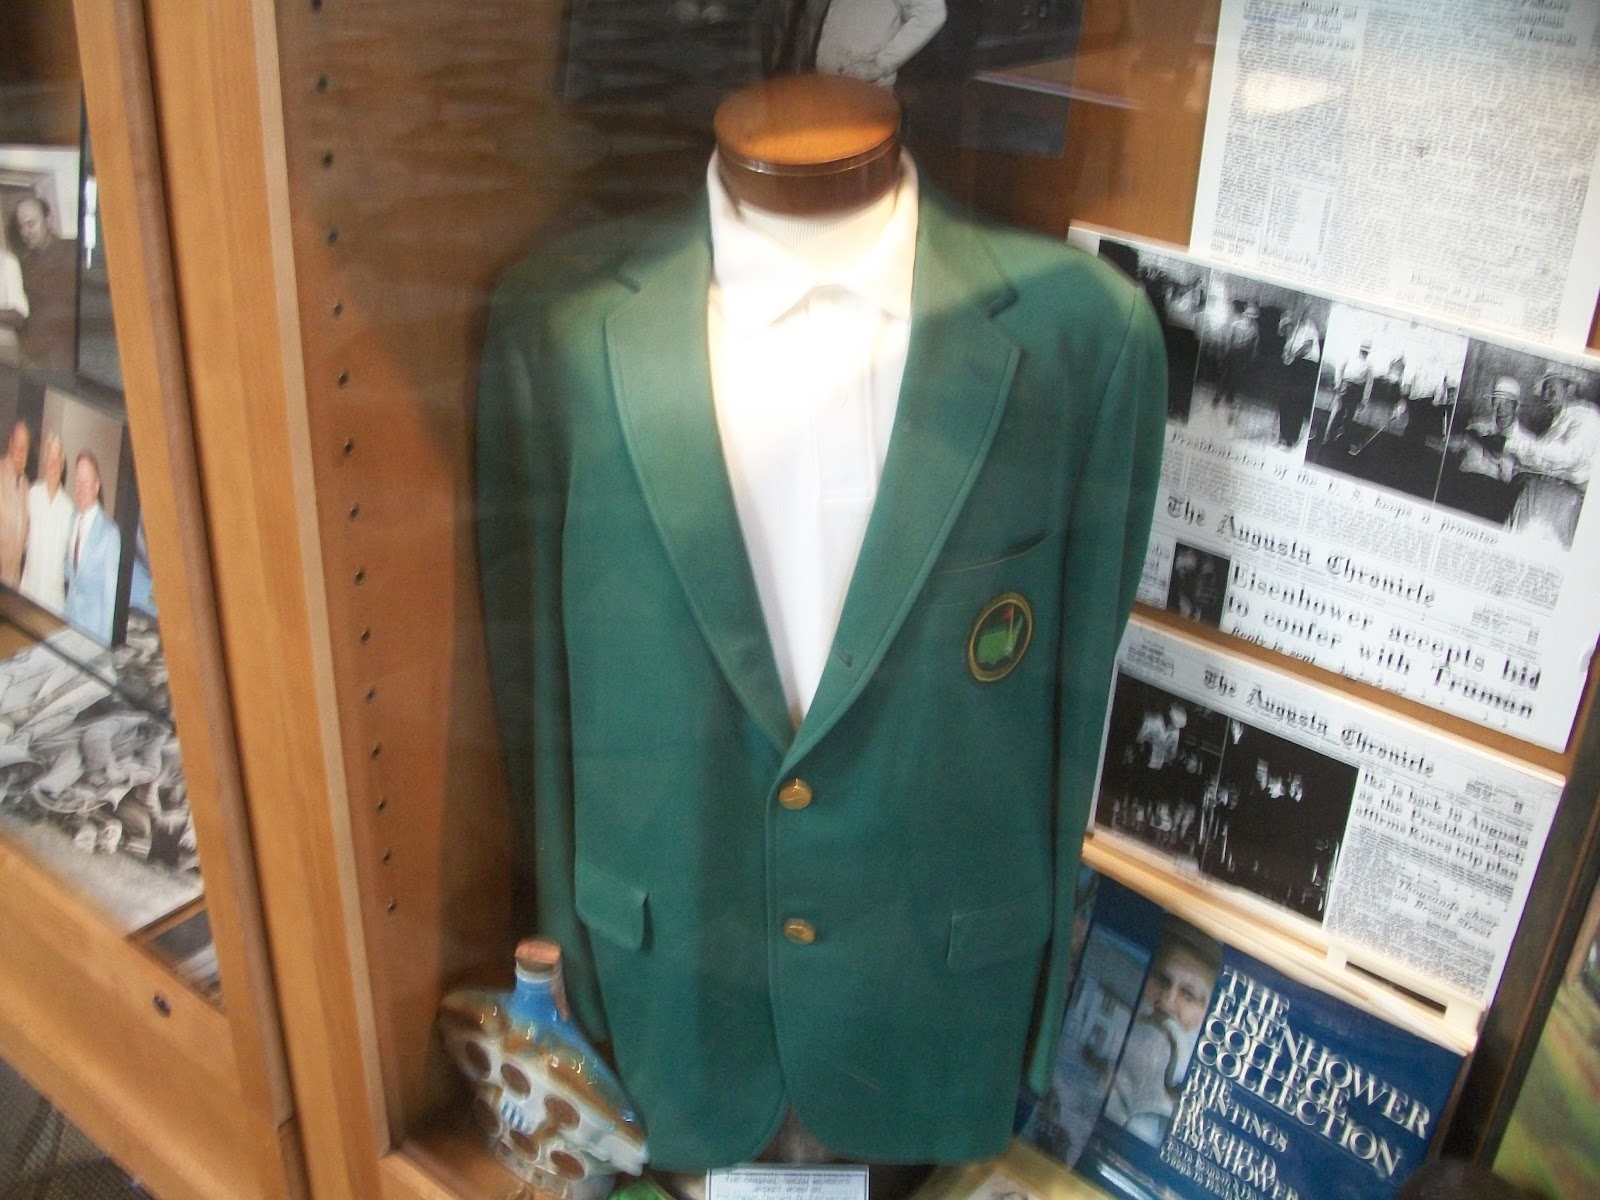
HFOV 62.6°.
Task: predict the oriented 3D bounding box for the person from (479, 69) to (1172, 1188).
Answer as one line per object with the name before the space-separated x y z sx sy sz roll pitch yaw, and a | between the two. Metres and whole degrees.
person | 0.003 0.065 1.024 0.513 0.881 0.160 4 23 13
